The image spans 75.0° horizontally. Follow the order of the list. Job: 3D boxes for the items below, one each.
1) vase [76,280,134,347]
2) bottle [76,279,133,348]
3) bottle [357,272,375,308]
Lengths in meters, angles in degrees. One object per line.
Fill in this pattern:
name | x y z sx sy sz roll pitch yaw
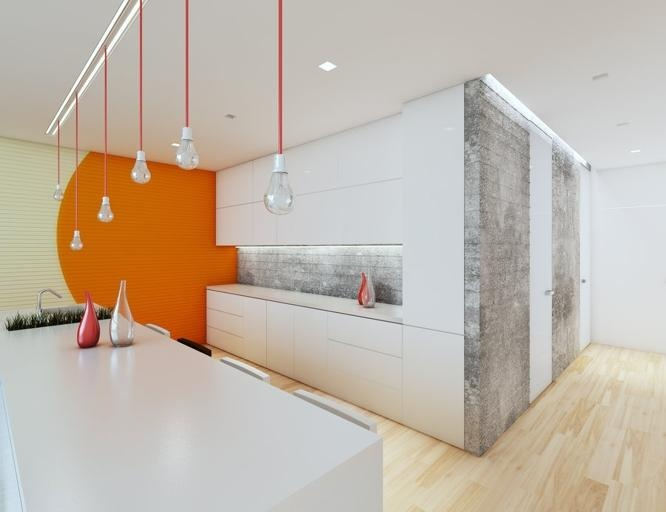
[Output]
vase | -1.957 0.471 3.665 0.476 0.654 0.205 1 -1 -7
bottle | -1.944 0.471 3.636 0.420 0.577 0.180 1 -1 -8
bottle | 0.354 0.351 4.503 0.165 0.342 0.195 0 9 4
